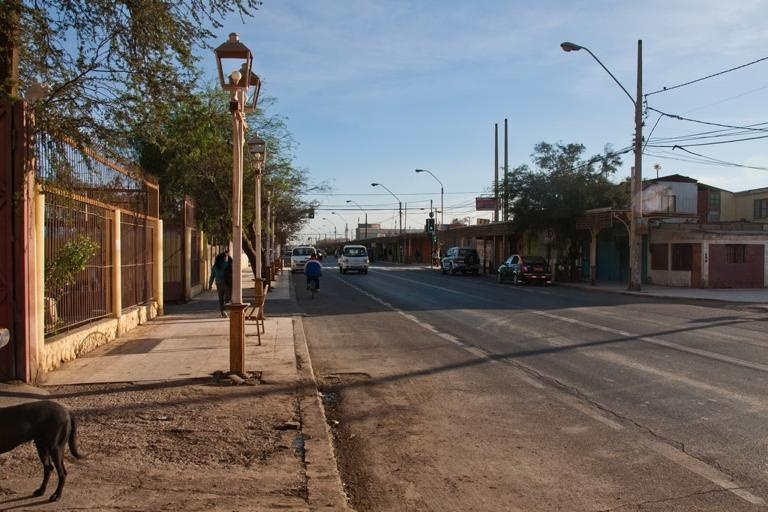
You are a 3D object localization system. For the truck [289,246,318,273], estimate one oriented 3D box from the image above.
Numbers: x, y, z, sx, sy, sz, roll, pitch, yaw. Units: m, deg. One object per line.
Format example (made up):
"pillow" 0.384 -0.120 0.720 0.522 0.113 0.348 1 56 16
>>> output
"truck" -6.510 -0.032 52.243 2.295 2.151 4.308 -1 -5 -6

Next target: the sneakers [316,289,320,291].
"sneakers" -2.783 1.425 28.975 0.173 0.083 0.272 -1 -4 -5

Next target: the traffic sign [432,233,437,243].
"traffic sign" 4.543 -1.654 61.851 0.276 0.981 1.298 4 10 15

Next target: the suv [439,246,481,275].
"suv" 5.557 0.283 50.250 1.423 1.369 3.179 0 4 -9
